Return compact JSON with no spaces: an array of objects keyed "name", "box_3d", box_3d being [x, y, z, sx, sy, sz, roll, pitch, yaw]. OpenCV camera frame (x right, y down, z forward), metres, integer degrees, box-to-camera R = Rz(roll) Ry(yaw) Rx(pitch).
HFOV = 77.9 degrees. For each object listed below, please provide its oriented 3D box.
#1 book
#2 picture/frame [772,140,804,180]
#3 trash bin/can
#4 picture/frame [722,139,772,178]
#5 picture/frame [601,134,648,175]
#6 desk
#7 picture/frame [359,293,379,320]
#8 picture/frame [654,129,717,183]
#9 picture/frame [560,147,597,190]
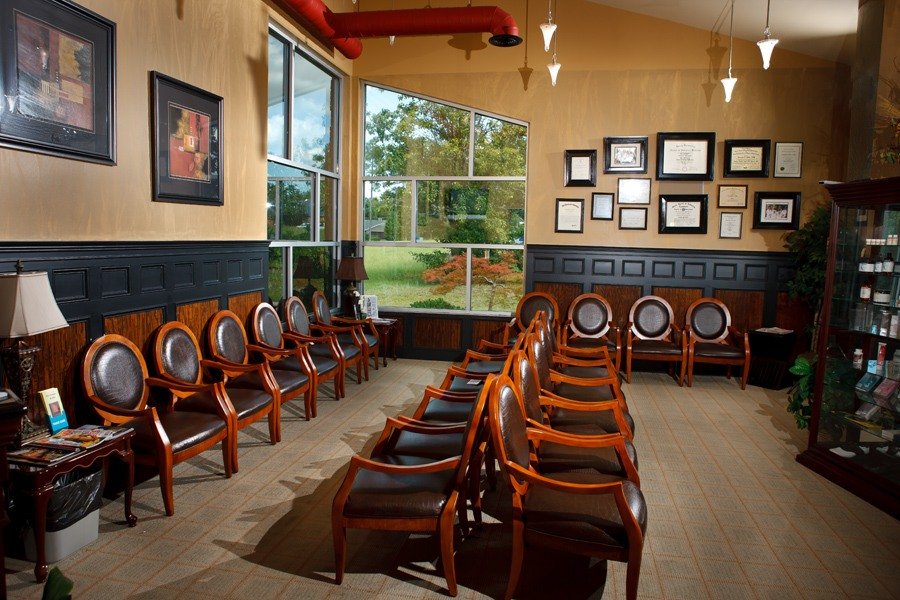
[{"name":"book","box_3d":[-2.695,1.032,3.917,0.354,0.131,0.548,2,4,21]},{"name":"picture/frame","box_3d":[4.741,-1.973,7.809,0.523,0.751,0.049,1,2,8]},{"name":"trash bin/can","box_3d":[-2.756,1.515,3.991,0.576,0.469,0.471,-1,0,13]},{"name":"picture/frame","box_3d":[4.212,-1.999,7.855,0.518,0.548,0.042,1,2,6]},{"name":"picture/frame","box_3d":[2.537,-2.101,8.036,0.564,0.493,0.062,0,4,5]},{"name":"desk","box_3d":[-2.650,1.344,4.091,0.741,0.939,0.965,0,0,23]},{"name":"picture/frame","box_3d":[-1.232,0.118,8.461,0.249,0.355,0.080,1,-7,4]},{"name":"picture/frame","box_3d":[3.373,-2.058,7.936,0.728,0.665,0.057,1,2,3]},{"name":"picture/frame","box_3d":[1.887,-1.928,8.127,0.579,0.697,0.056,0,6,8]}]
